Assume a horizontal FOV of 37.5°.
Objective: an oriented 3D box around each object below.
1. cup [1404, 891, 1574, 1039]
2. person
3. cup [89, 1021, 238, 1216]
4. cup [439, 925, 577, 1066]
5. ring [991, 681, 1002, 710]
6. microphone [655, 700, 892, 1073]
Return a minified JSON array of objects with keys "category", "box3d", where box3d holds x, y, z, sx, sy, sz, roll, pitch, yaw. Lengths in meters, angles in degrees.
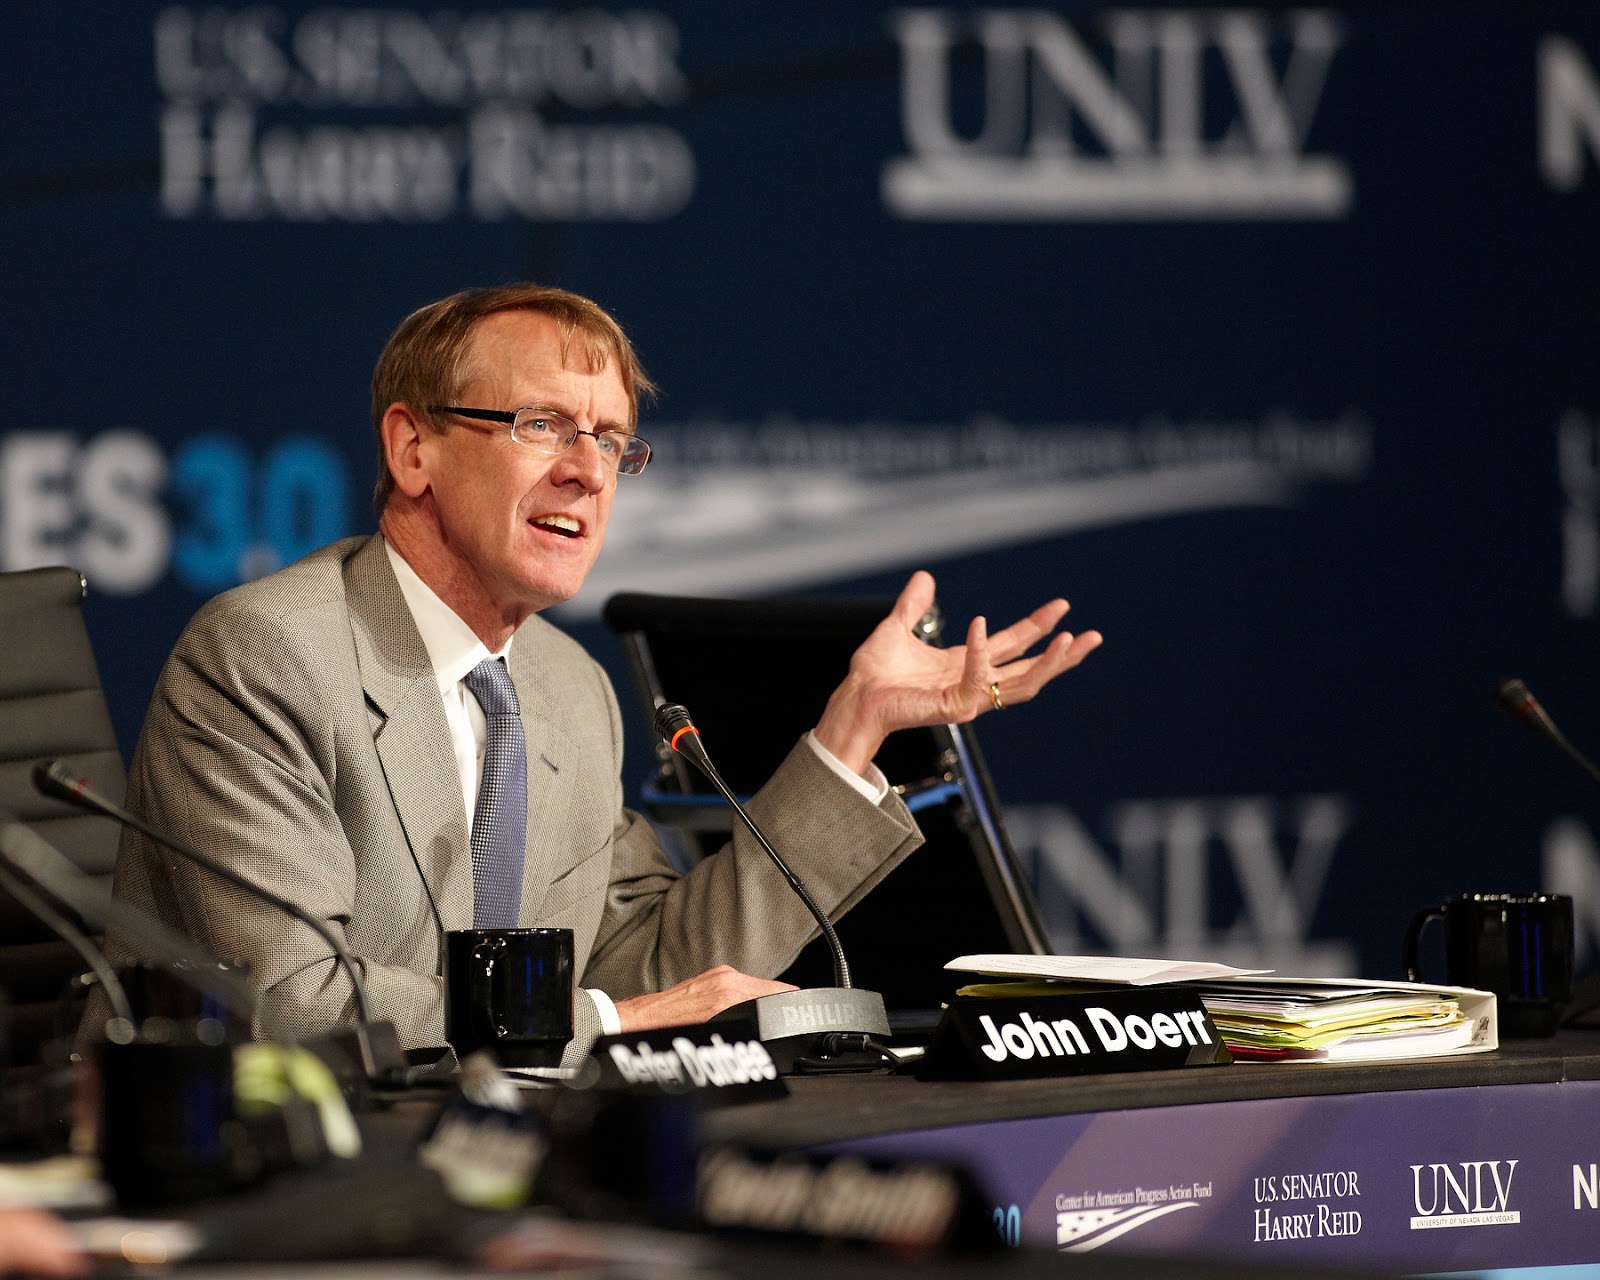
[{"category":"cup","box3d":[0.770,0.374,2.694,0.176,0.157,0.117,-6,-13,29]},{"category":"person","box3d":[-0.289,0.180,3.388,1.153,1.589,0.823,-4,-17,21]},{"category":"cup","box3d":[-0.521,0.397,1.923,0.120,0.136,0.121,-1,-7,0]},{"category":"cup","box3d":[-0.288,0.360,2.405,0.151,0.141,0.099,-1,-1,-26]},{"category":"ring","box3d":[0.244,0.067,2.957,0.010,0.028,0.028,-2,-8,12]},{"category":"microphone","box3d":[-0.045,0.272,2.624,0.196,0.489,0.113,5,-40,-27]}]
